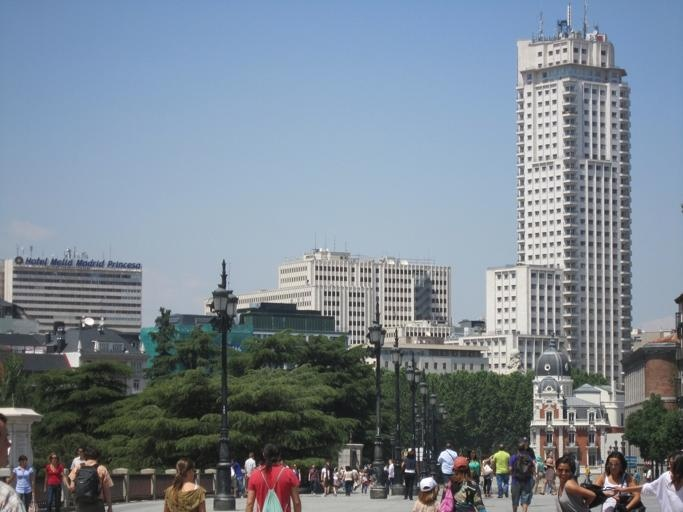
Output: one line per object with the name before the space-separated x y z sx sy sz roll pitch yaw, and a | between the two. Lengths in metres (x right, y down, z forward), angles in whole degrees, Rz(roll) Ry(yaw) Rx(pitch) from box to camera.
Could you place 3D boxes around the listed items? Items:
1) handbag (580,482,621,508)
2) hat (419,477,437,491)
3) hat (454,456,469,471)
handbag | 15.896 14.719 115.128 1.367 0.809 1.761 9 8 -6
hat | 5.567 14.286 116.532 0.923 0.976 0.829 8 -13 -37
hat | 7.746 13.051 117.752 0.922 0.927 1.144 0 -10 0
